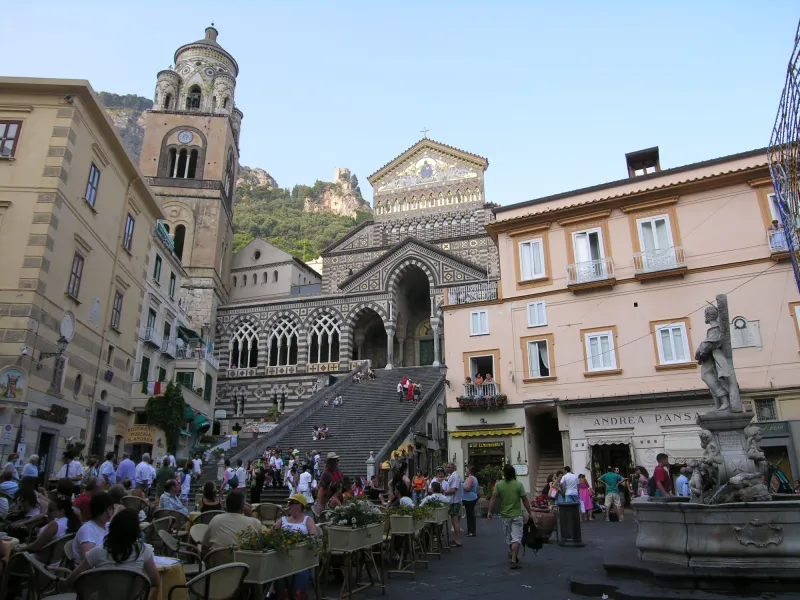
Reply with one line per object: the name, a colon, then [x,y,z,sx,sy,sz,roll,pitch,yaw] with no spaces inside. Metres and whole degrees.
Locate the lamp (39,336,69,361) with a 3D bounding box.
lamp: [-10.613,1.463,18.498,0.757,0.837,0.298,-3,-15,11]

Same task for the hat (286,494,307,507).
hat: [-1.510,2.950,8.838,0.239,0.132,0.176,21,-19,-7]

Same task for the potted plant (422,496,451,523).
potted plant: [0.763,4.309,12.537,0.589,0.345,0.810,-1,-12,5]

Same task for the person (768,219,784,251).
person: [12.911,-2.164,20.784,0.462,1.229,0.233,-13,-20,32]
